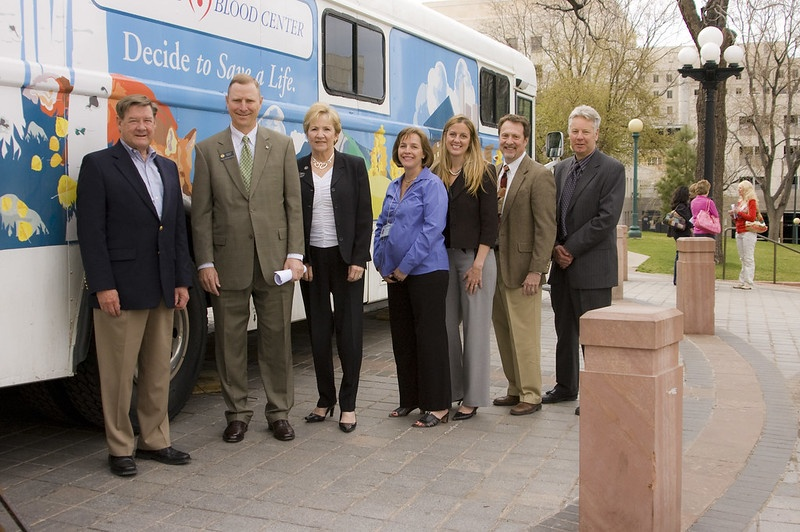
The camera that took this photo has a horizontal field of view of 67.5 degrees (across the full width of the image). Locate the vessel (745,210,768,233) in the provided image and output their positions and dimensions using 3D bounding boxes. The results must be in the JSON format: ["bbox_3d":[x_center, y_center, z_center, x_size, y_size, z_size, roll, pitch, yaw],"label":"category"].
[{"bbox_3d":[7.787,-0.946,13.014,0.342,0.468,1.126,5,9,36],"label":"vessel"}]

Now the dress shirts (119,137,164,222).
[{"bbox_3d":[-1.931,-0.676,4.590,0.344,0.516,0.147,-5,11,17],"label":"dress shirts"}]

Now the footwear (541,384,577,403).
[{"bbox_3d":[1.614,1.324,6.179,0.414,0.204,0.160,3,-3,-7],"label":"footwear"}]

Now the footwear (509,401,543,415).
[{"bbox_3d":[1.218,1.375,5.830,0.292,0.142,0.118,6,-3,-32],"label":"footwear"}]

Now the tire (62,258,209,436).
[{"bbox_3d":[-2.144,0.620,4.714,0.491,1.666,1.385,4,4,29],"label":"tire"}]

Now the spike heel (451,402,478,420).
[{"bbox_3d":[0.609,1.397,5.685,0.099,0.137,0.302,-3,-10,38],"label":"spike heel"}]

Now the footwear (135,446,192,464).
[{"bbox_3d":[-1.884,1.490,4.799,0.449,0.176,0.158,2,0,9],"label":"footwear"}]

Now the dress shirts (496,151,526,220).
[{"bbox_3d":[1.000,-0.782,5.745,0.181,0.541,0.370,18,10,38],"label":"dress shirts"}]

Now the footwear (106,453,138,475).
[{"bbox_3d":[-2.126,1.498,4.543,0.250,0.120,0.100,0,-2,43],"label":"footwear"}]

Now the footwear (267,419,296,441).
[{"bbox_3d":[-1.037,1.424,5.203,0.109,0.133,0.290,-3,-2,-36],"label":"footwear"}]

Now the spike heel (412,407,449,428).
[{"bbox_3d":[0.276,1.407,5.525,0.265,0.111,0.150,7,-9,-31],"label":"spike heel"}]

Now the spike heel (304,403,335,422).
[{"bbox_3d":[-0.746,1.397,5.633,0.118,0.132,0.320,-6,-12,41],"label":"spike heel"}]
